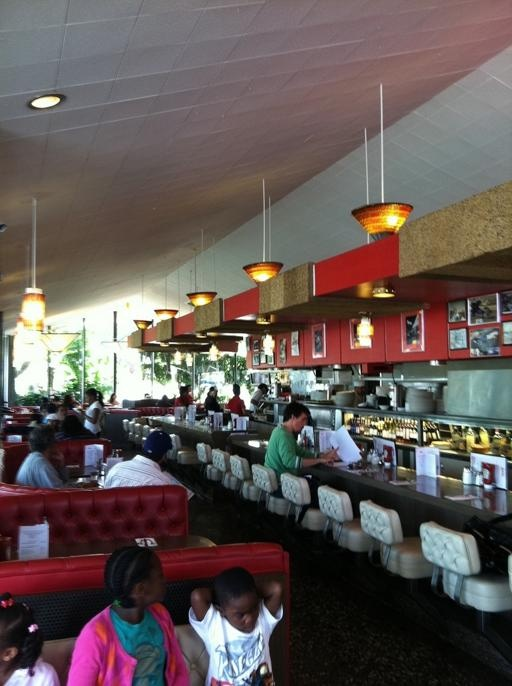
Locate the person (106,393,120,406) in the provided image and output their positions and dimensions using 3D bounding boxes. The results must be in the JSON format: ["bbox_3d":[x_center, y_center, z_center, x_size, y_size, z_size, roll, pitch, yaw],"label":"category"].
[{"bbox_3d":[-4.404,1.769,16.013,0.276,0.418,0.822,-1,-5,-15],"label":"person"}]

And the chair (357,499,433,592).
[{"bbox_3d":[0.861,1.152,3.103,0.365,0.379,0.442,-1,-5,-12],"label":"chair"}]

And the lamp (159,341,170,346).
[{"bbox_3d":[-1.887,0.015,10.828,0.181,0.082,0.243,0,-2,-11],"label":"lamp"}]

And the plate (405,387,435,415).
[{"bbox_3d":[1.816,0.654,5.792,0.276,0.242,0.279,-1,-6,44],"label":"plate"}]

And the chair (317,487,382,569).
[{"bbox_3d":[0.672,1.221,3.558,0.415,0.456,0.375,-3,-3,-3],"label":"chair"}]

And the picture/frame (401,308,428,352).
[{"bbox_3d":[1.731,-0.126,5.743,0.353,0.443,0.010,-7,6,-31],"label":"picture/frame"}]

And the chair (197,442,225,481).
[{"bbox_3d":[-0.531,1.416,6.240,0.286,0.324,0.825,-1,1,-18],"label":"chair"}]

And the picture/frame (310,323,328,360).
[{"bbox_3d":[0.923,-0.019,7.541,0.043,0.621,0.568,1,-1,-18],"label":"picture/frame"}]

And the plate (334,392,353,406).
[{"bbox_3d":[1.199,0.769,7.122,0.228,0.154,0.179,-3,0,-1],"label":"plate"}]

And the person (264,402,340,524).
[{"bbox_3d":[0.401,1.099,4.605,0.657,1.022,0.492,3,-3,6],"label":"person"}]

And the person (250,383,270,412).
[{"bbox_3d":[0.083,1.188,11.122,0.399,0.606,1.100,-3,-5,0],"label":"person"}]

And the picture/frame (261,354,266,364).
[{"bbox_3d":[0.145,0.312,9.988,0.027,0.254,0.200,-1,-3,-26],"label":"picture/frame"}]

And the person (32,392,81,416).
[{"bbox_3d":[-4.091,1.229,10.489,1.235,0.278,1.156,0,-2,-4],"label":"person"}]

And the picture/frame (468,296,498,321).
[{"bbox_3d":[2.129,-0.323,4.841,0.035,0.208,0.251,-2,2,-24],"label":"picture/frame"}]

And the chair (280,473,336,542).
[{"bbox_3d":[0.445,1.232,3.996,0.428,0.454,0.391,-6,-2,2],"label":"chair"}]

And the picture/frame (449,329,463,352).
[{"bbox_3d":[2.018,-0.029,5.217,0.032,0.233,0.229,1,-1,-21],"label":"picture/frame"}]

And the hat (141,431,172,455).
[{"bbox_3d":[-0.638,0.651,3.371,0.180,0.159,0.222,-2,-5,-11],"label":"hat"}]

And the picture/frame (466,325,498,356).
[{"bbox_3d":[2.152,-0.013,4.893,0.063,0.276,0.383,-1,-5,-15],"label":"picture/frame"}]
